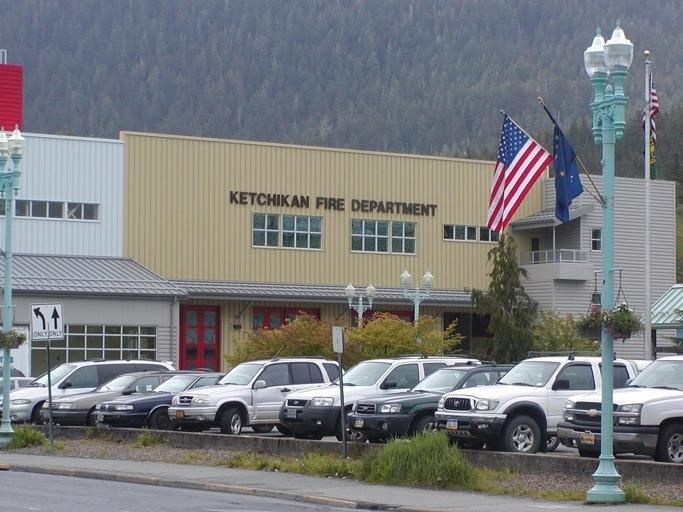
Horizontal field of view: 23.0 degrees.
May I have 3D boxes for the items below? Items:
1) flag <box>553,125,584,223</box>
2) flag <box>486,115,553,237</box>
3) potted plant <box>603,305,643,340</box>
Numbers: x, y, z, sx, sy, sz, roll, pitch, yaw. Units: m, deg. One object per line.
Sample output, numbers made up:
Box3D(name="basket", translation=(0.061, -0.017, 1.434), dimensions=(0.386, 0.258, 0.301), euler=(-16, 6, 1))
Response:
Box3D(name="flag", translation=(8.918, -3.424, 66.450), dimensions=(0.621, 5.038, 0.902), euler=(0, -3, -36))
Box3D(name="flag", translation=(8.588, -3.994, 83.064), dimensions=(2.626, 5.888, 2.372), euler=(1, 11, 6))
Box3D(name="potted plant", translation=(10.705, 2.403, 64.289), dimensions=(1.285, 1.602, 1.330), euler=(6, -6, 33))
